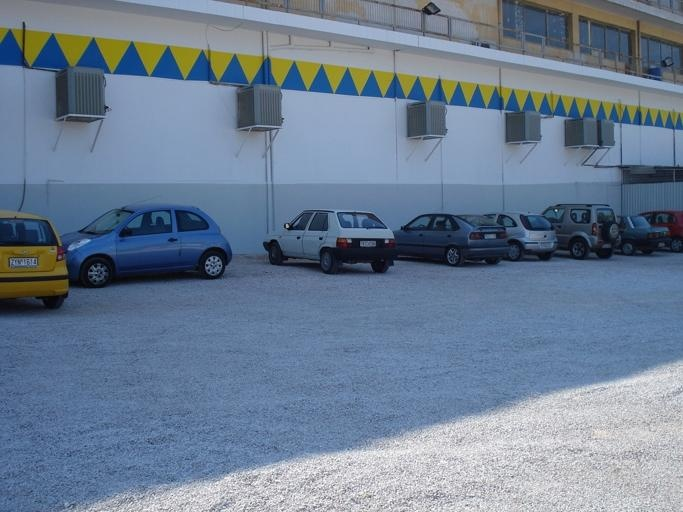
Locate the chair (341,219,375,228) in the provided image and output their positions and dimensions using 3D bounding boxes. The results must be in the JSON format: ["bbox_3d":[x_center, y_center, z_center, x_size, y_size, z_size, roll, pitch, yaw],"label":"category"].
[{"bbox_3d":[0.397,-0.796,17.343,1.030,0.192,0.227,-4,4,-39],"label":"chair"}]

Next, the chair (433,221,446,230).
[{"bbox_3d":[2.845,-0.882,19.968,0.215,0.273,0.251,1,2,-1],"label":"chair"}]

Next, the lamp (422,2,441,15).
[{"bbox_3d":[3.328,-9.291,25.716,0.623,0.552,0.763,-1,3,5],"label":"lamp"}]

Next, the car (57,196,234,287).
[{"bbox_3d":[-4.527,-0.265,15.571,3.124,1.710,1.781,1,1,-30],"label":"car"}]

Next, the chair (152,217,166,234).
[{"bbox_3d":[-4.097,-0.668,15.267,0.198,0.437,0.351,1,-2,-17],"label":"chair"}]

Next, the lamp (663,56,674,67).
[{"bbox_3d":[18.118,-10.657,37.865,0.563,0.492,1.098,4,19,24],"label":"lamp"}]
